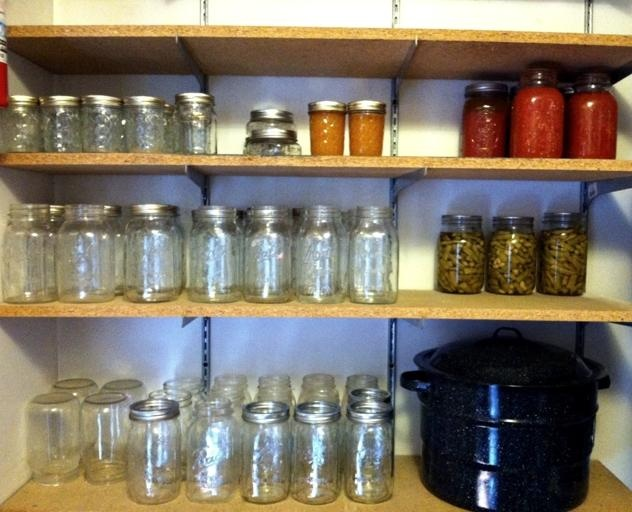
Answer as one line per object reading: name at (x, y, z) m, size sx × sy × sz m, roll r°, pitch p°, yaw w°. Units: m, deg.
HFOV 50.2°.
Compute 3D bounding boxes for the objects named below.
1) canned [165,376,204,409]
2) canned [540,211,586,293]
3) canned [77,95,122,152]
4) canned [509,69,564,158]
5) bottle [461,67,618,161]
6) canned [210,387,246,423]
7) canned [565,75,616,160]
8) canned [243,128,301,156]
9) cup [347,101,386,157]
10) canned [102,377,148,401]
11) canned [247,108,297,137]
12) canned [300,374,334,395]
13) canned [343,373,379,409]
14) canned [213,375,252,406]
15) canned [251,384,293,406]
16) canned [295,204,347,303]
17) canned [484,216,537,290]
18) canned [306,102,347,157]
canned at (-0.435, 0.447, 2.211) m, size 0.095 × 0.081 × 0.086 m, roll 2°, pitch -2°, yaw -1°
canned at (0.808, -0.008, 2.198) m, size 0.126 × 0.268 × 0.109 m, roll -2°, pitch 4°, yaw -29°
canned at (-0.630, -0.381, 1.982) m, size 0.116 × 0.162 × 0.055 m, roll -1°, pitch 3°, yaw -15°
canned at (0.660, -0.423, 2.022) m, size 0.149 × 0.261 × 0.076 m, roll 1°, pitch 3°, yaw 13°
bottle at (0.681, -0.418, 2.038) m, size 0.376 × 0.196 × 0.116 m, roll 1°, pitch -3°, yaw 2°
canned at (-0.269, 0.452, 2.097) m, size 0.113 × 0.089 × 0.103 m, roll 1°, pitch -2°, yaw 1°
canned at (0.828, -0.417, 2.033) m, size 0.140 × 0.252 × 0.068 m, roll 1°, pitch 4°, yaw 16°
canned at (-0.132, -0.332, 1.998) m, size 0.131 × 0.050 × 0.111 m, roll 0°, pitch 1°, yaw -11°
cup at (0.147, -0.374, 2.002) m, size 0.109 × 0.160 × 0.055 m, roll 0°, pitch 3°, yaw -1°
canned at (-0.631, 0.425, 2.211) m, size 0.092 × 0.065 × 0.084 m, roll 1°, pitch -2°, yaw 1°
canned at (-0.127, -0.409, 2.061) m, size 0.114 × 0.059 × 0.106 m, roll 2°, pitch -1°, yaw -15°
canned at (0.007, 0.406, 2.200) m, size 0.075 × 0.046 × 0.071 m, roll -3°, pitch 2°, yaw -28°
canned at (0.140, 0.439, 2.231) m, size 0.116 × 0.093 × 0.107 m, roll 2°, pitch -1°, yaw -4°
canned at (-0.271, 0.424, 2.170) m, size 0.108 × 0.087 × 0.098 m, roll 1°, pitch -8°, yaw -1°
canned at (-0.137, 0.435, 2.142) m, size 0.092 × 0.072 × 0.084 m, roll 0°, pitch -1°, yaw -4°
canned at (0.015, 0.011, 2.043) m, size 0.154 × 0.245 × 0.106 m, roll 0°, pitch 3°, yaw 2°
canned at (0.633, -0.002, 2.192) m, size 0.144 × 0.248 × 0.096 m, roll 0°, pitch 3°, yaw 4°
canned at (0.033, -0.378, 2.021) m, size 0.111 × 0.161 × 0.083 m, roll -1°, pitch 3°, yaw -7°
